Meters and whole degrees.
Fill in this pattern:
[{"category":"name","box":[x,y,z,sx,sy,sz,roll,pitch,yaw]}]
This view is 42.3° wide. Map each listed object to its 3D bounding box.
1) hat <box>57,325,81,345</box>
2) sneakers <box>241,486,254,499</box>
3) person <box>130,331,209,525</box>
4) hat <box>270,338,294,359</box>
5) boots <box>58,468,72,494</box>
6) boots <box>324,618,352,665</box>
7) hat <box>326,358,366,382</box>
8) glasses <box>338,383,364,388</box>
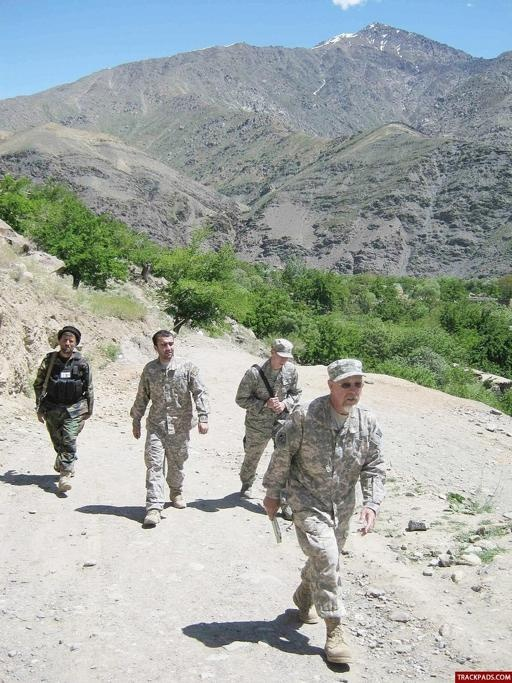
[{"category":"hat","box":[-2.067,-0.078,7.362,0.247,0.211,0.086,3,6,-13]},{"category":"sneakers","box":[-0.107,1.977,8.671,0.148,0.120,0.138,-2,7,-22]},{"category":"person","box":[-0.945,0.886,7.006,0.842,1.836,1.101,10,2,8]},{"category":"hat","box":[0.301,0.076,7.677,0.208,0.119,0.255,14,8,-20]},{"category":"boots","box":[-2.132,1.554,7.366,0.131,0.358,0.239,13,51,-20]},{"category":"boots","box":[0.541,1.997,4.457,0.149,0.232,0.356,0,-4,-4]},{"category":"hat","box":[0.631,0.211,4.680,0.239,0.162,0.250,8,2,7]},{"category":"glasses","box":[0.675,0.307,4.609,0.181,0.048,0.066,6,3,-28]}]
